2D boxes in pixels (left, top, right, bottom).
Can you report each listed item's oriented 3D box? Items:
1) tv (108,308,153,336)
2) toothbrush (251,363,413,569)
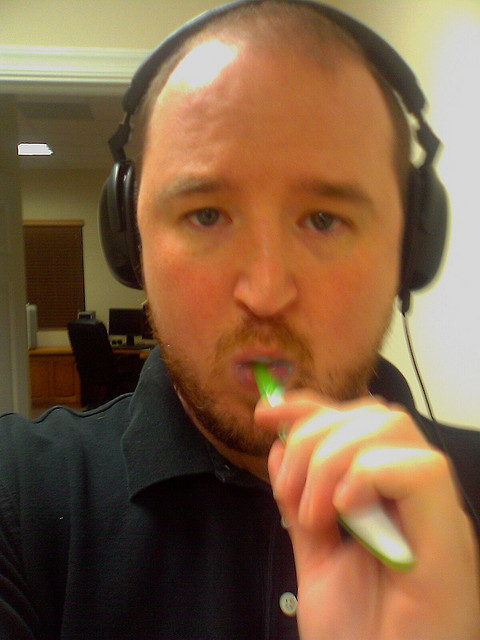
[{"bbox_3d":[-0.612,0.004,3.163,0.169,0.128,0.018,1,14,11],"label":"tv"},{"bbox_3d":[0.049,0.069,0.404,0.034,0.024,0.199,11,35,-36],"label":"toothbrush"}]
